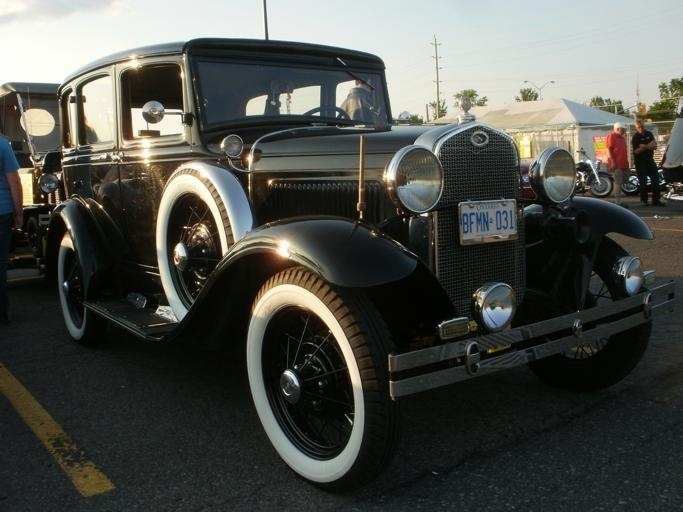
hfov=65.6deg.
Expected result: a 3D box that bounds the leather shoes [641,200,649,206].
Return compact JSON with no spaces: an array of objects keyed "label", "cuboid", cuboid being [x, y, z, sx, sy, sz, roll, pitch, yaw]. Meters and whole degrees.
[{"label":"leather shoes","cuboid":[7.779,-1.338,13.505,0.174,0.190,0.183,-1,-2,-2]}]

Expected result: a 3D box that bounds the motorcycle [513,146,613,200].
[{"label":"motorcycle","cuboid":[7.306,-2.564,16.620,2.231,1.388,0.969,10,11,35]}]

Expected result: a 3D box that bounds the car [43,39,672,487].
[{"label":"car","cuboid":[-0.492,-0.259,4.493,2.587,2.646,4.985,-7,9,-40]}]
